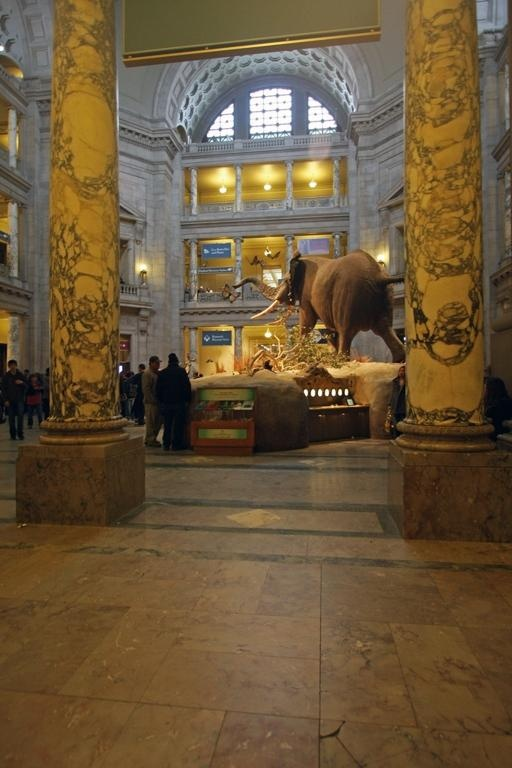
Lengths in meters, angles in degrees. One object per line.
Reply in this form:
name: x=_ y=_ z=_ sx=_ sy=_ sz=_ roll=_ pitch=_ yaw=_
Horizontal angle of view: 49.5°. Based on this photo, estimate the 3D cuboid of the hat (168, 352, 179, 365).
hat: x=-1.175 y=-0.356 z=7.945 sx=0.181 sy=0.236 sz=0.210 roll=-2 pitch=1 yaw=-30

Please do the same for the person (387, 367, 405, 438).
person: x=2.234 y=0.298 z=8.957 sx=0.268 sy=1.132 sz=0.671 roll=0 pitch=0 yaw=12

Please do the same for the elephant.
elephant: x=1.462 y=-1.709 z=12.461 sx=1.738 sy=2.787 sz=4.430 roll=10 pitch=-1 yaw=-44
